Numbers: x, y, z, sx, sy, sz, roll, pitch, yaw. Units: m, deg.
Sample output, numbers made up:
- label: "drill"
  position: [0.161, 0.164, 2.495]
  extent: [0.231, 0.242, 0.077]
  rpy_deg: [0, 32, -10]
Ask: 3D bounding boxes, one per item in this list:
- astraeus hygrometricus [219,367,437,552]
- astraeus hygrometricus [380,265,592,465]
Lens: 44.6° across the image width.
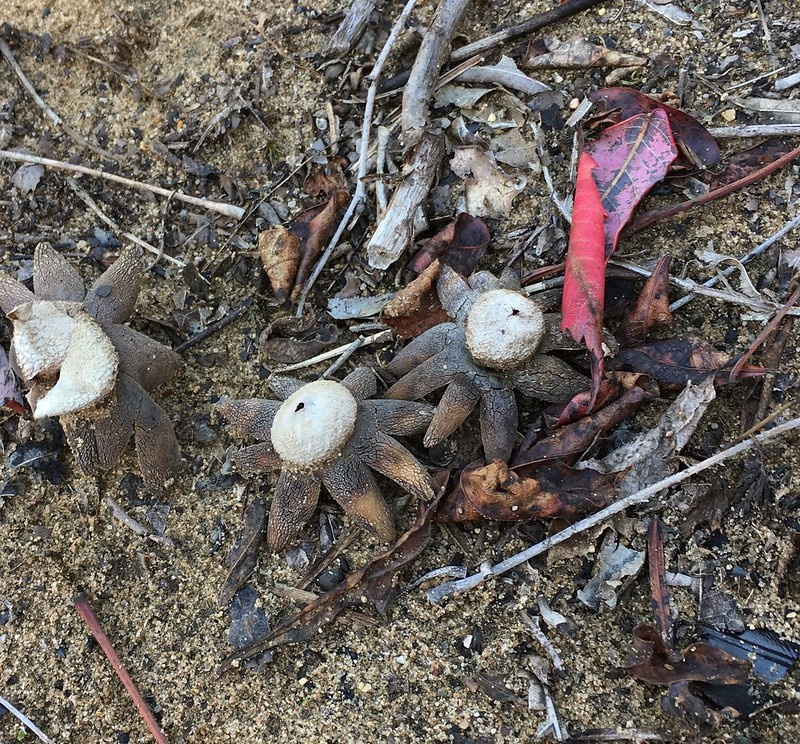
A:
- label: "astraeus hygrometricus"
  position: [-0.227, 0.231, 3.006]
  extent: [0.662, 0.444, 0.535]
  rpy_deg: [-1, 64, 3]
- label: "astraeus hygrometricus"
  position: [0.383, -0.037, 3.024]
  extent: [0.613, 0.348, 0.638]
  rpy_deg: [14, 36, 42]
